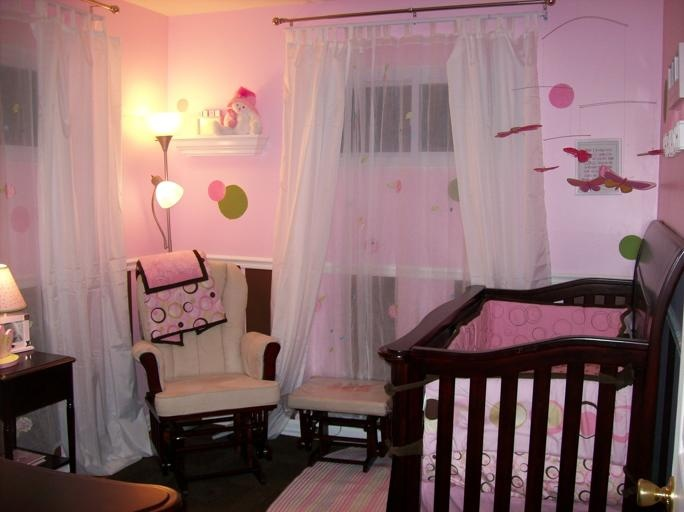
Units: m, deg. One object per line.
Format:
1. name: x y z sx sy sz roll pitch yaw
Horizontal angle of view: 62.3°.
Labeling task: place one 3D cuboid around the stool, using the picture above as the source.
1. stool: 0.021 1.089 3.590 0.635 0.464 0.377 -1 3 22

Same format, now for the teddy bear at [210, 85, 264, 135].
1. teddy bear: -0.715 -0.991 3.934 0.299 0.352 0.232 -6 28 -13

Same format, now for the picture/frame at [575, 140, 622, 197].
1. picture/frame: 1.565 -0.541 3.421 0.307 0.408 0.013 2 8 26

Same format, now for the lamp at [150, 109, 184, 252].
1. lamp: -1.245 -0.508 4.046 0.226 1.016 0.503 -3 11 -15

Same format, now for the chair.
1. chair: -0.881 0.702 3.677 0.839 1.357 0.852 -3 1 -18

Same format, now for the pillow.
1. pillow: 1.145 0.394 3.163 0.654 0.292 0.567 0 8 18
